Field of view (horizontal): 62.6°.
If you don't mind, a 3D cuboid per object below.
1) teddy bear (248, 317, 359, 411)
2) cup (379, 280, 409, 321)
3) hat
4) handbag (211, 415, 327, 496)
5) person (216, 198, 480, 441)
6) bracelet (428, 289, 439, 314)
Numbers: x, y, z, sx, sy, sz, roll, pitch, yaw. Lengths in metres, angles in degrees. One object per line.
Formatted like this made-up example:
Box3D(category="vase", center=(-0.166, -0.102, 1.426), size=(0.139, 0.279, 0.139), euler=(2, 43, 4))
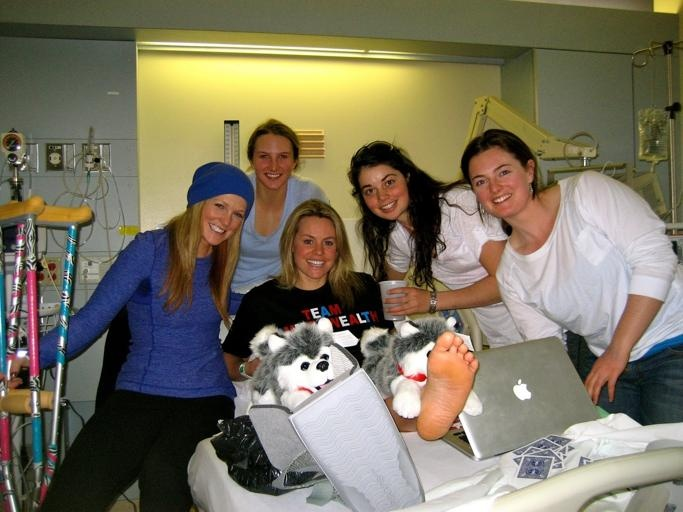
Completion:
Box3D(category="teddy bear", center=(-0.142, 0.330, 1.803), size=(0.216, 0.256, 0.301), euler=(-6, 8, -36))
Box3D(category="cup", center=(0.195, 0.195, 2.342), size=(0.153, 0.160, 0.149), euler=(-1, -4, 0))
Box3D(category="hat", center=(-0.580, -0.303, 2.504), size=(0.290, 0.227, 0.220), euler=(11, 3, 12))
Box3D(category="handbag", center=(-0.250, 0.580, 1.650), size=(0.207, 0.275, 0.093), euler=(-32, -10, -7))
Box3D(category="person", center=(0.052, 0.327, 2.393), size=(1.027, 1.039, 0.764), euler=(8, 13, 39))
Box3D(category="bracelet", center=(0.412, 0.214, 2.552), size=(0.062, 0.085, 0.094), euler=(-3, 4, 0))
